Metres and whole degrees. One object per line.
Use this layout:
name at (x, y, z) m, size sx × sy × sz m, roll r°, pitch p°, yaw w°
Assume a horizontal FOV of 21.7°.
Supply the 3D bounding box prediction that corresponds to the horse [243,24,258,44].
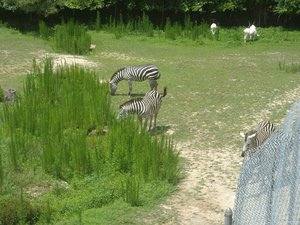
horse at (3.924, -3.106, 30.539) m, size 0.309 × 0.762 × 1.275 m, roll 2°, pitch 20°, yaw 12°

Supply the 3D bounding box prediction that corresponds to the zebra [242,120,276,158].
zebra at (2.314, 0.591, 16.668) m, size 0.867 × 0.487 × 0.258 m, roll -46°, pitch 29°, yaw -22°

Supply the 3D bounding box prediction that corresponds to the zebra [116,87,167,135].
zebra at (-0.151, 0.026, 19.689) m, size 1.615 × 1.085 × 0.440 m, roll -25°, pitch 33°, yaw -32°
